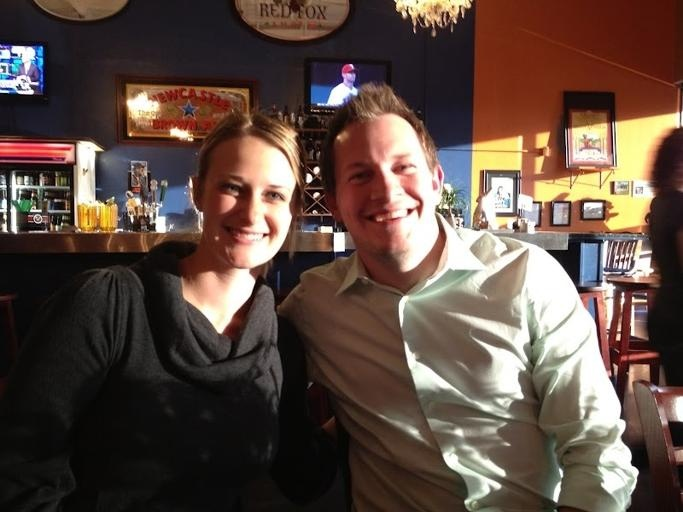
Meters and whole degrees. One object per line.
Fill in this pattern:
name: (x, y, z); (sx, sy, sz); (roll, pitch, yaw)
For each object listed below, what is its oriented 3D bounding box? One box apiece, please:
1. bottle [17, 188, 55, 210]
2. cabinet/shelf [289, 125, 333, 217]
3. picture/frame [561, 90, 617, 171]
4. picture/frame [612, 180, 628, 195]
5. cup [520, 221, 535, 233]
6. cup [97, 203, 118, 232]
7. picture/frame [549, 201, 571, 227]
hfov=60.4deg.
bottle: (-3.284, -0.608, 6.312); (0.252, 0.188, 0.139); (0, -5, -8)
cabinet/shelf: (-0.391, -0.726, 7.238); (0.362, 1.175, 1.166); (-2, -28, -8)
picture/frame: (3.148, -1.612, 7.436); (0.850, 1.316, 0.066); (-2, 4, -2)
picture/frame: (3.725, -0.916, 7.830); (0.186, 0.169, 0.026); (0, 8, 18)
cup: (1.635, -0.248, 5.175); (0.124, 0.094, 0.066); (0, -4, -42)
cup: (-2.198, -0.350, 5.517); (0.218, 0.333, 0.221); (1, 4, 0)
picture/frame: (2.888, -0.559, 7.770); (0.311, 0.429, 0.046); (1, 2, -2)
